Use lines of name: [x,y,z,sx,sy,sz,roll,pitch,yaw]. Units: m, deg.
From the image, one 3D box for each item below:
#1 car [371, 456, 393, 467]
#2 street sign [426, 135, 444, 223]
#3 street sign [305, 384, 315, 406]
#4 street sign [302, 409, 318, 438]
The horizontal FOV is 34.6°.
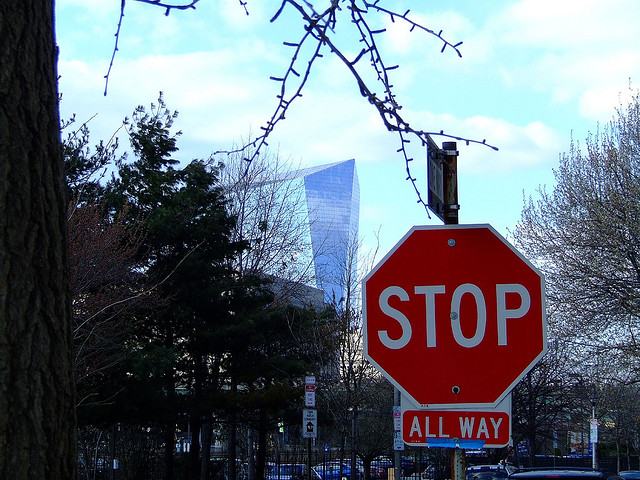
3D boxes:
car: [3.192,11.689,54.067,1.291,0.647,1.863,0,-10,1]
street sign: [1.170,-0.573,10.412,0.198,0.730,0.089,8,-17,-34]
street sign: [-0.259,3.869,25.712,0.217,0.541,0.229,0,-15,-10]
street sign: [-0.261,4.592,25.939,0.329,0.744,0.765,-1,-16,-4]
